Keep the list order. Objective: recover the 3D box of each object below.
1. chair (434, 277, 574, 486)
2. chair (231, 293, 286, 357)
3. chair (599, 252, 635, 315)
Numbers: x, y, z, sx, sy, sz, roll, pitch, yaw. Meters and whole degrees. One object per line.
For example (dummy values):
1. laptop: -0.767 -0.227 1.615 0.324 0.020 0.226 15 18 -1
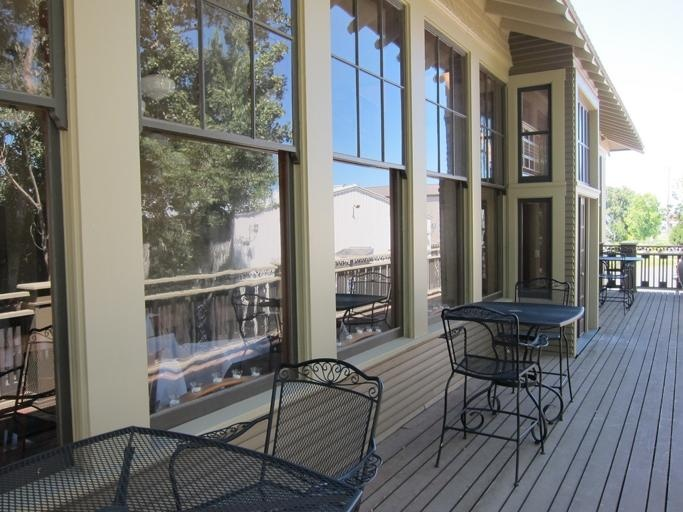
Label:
1. chair: 1.565 1.050 5.180 1.093 1.561 2.183 -1 -1 24
2. chair: -0.552 0.405 3.638 0.317 0.543 0.423 -2 1 22
3. chair: 6.202 0.624 11.968 0.855 1.692 0.981 2 10 30
